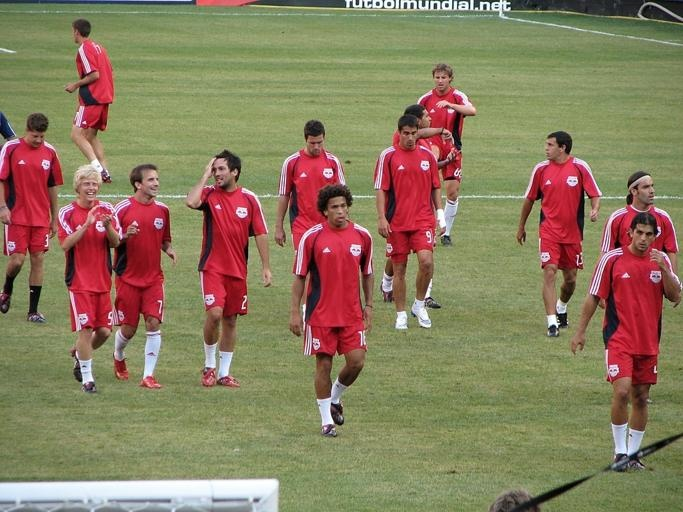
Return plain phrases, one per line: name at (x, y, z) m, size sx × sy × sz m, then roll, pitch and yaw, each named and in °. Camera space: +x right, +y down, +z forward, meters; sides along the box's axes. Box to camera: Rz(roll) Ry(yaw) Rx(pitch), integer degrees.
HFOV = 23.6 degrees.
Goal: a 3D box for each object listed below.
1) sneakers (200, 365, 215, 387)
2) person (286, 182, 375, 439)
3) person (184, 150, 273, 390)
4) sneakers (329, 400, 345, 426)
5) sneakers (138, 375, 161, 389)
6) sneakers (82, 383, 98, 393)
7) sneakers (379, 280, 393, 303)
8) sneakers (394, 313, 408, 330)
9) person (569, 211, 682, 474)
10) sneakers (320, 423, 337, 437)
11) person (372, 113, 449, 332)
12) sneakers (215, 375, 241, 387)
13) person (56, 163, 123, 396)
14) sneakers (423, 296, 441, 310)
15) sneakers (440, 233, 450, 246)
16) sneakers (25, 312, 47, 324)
sneakers at (-1.963, 1.852, 24.174) m, size 0.170 × 0.206 × 0.316 m, roll 1°, pitch -10°, yaw -5°
person at (-0.135, 0.807, 23.048) m, size 1.128 × 3.428 × 0.859 m, roll 1°, pitch 13°, yaw 0°
person at (-1.669, 0.251, 24.025) m, size 1.130 × 3.396 × 0.727 m, roll -2°, pitch 13°, yaw -14°
sneakers at (-0.035, 2.278, 23.309) m, size 0.137 × 0.158 × 0.378 m, roll -14°, pitch 44°, yaw -11°
sneakers at (-2.762, 1.883, 23.967) m, size 0.275 × 0.174 × 0.240 m, roll -6°, pitch 14°, yaw -29°
sneakers at (-3.628, 1.945, 23.770) m, size 0.209 × 0.145 × 0.140 m, roll -1°, pitch 13°, yaw -9°
sneakers at (0.730, 0.644, 26.914) m, size 0.141 × 0.383 × 0.180 m, roll 1°, pitch -15°, yaw -7°
sneakers at (0.936, 1.099, 25.837) m, size 0.258 × 0.277 × 0.685 m, roll 0°, pitch -2°, yaw 6°
person at (3.911, 1.153, 22.688) m, size 1.126 × 3.357 × 1.004 m, roll 9°, pitch 15°, yaw 30°
sneakers at (-0.180, 2.503, 23.027) m, size 0.159 × 0.129 × 0.295 m, roll 1°, pitch -10°, yaw -3°
person at (1.035, -0.477, 25.850) m, size 1.009 × 3.311 × 1.010 m, roll 3°, pitch 13°, yaw 8°
sneakers at (-1.655, 1.911, 24.158) m, size 0.293 × 0.107 × 0.147 m, roll 1°, pitch 3°, yaw 17°
person at (-3.615, 0.379, 23.830) m, size 0.832 × 3.162 × 0.945 m, roll -2°, pitch 13°, yaw -15°
sneakers at (1.515, 0.821, 26.618) m, size 0.349 × 0.136 × 0.117 m, roll 3°, pitch 16°, yaw 34°
sneakers at (1.851, -0.200, 29.163) m, size 0.142 × 0.177 × 0.185 m, roll -3°, pitch -11°, yaw -2°
sneakers at (-4.736, 1.024, 25.668) m, size 0.287 × 0.119 × 0.145 m, roll 4°, pitch 8°, yaw 32°
